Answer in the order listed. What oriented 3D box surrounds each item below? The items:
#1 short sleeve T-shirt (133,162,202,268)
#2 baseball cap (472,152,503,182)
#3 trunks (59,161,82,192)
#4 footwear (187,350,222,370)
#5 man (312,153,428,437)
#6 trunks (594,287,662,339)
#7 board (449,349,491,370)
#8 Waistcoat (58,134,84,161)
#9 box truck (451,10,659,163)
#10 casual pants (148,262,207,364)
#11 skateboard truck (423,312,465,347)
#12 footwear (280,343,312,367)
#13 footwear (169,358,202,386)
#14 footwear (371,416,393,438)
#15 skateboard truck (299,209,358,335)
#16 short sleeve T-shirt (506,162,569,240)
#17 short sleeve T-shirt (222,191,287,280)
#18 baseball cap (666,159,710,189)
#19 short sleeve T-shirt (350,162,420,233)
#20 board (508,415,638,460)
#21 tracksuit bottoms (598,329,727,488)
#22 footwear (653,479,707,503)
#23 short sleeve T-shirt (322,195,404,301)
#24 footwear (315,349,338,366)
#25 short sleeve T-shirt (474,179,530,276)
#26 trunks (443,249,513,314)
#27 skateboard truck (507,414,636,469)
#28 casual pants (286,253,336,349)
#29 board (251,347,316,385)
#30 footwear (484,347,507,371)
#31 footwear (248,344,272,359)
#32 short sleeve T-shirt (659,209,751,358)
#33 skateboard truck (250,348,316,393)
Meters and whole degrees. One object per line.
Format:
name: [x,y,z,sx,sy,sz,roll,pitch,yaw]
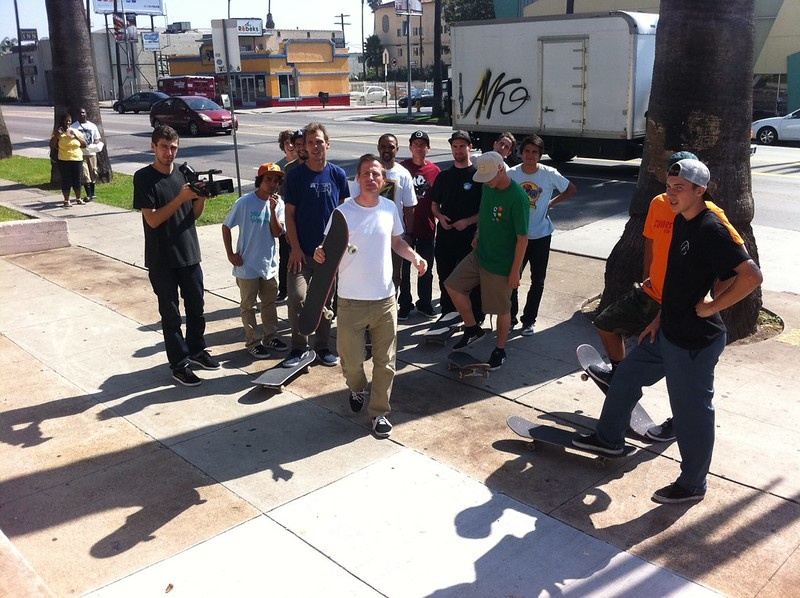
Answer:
short sleeve T-shirt: [-2.297,-0.819,6.249,0.547,0.987,0.402,-9,20,-24]
baseball cap: [0.891,-1.333,6.441,0.294,0.321,0.260,9,21,28]
trunks: [-7.436,-2.812,14.305,0.313,0.859,0.453,28,29,30]
footwear: [-2.076,0.643,6.848,0.415,0.190,0.155,14,22,8]
man: [-0.382,-0.034,5.740,1.045,2.409,0.995,1,0,-20]
trunks: [2.091,0.209,5.697,0.627,0.378,0.552,-14,-22,33]
board: [0.700,0.678,6.618,0.316,0.165,0.418,-7,20,-19]
Waistcoat: [-7.266,-3.361,13.915,0.310,0.560,0.494,23,25,38]
box truck: [5.010,-6.615,19.945,3.972,4.284,6.515,-22,30,-35]
casual pants: [-2.249,0.101,6.474,0.498,1.190,0.341,-11,11,-38]
skateboard truck: [0.527,0.328,7.464,0.258,0.121,0.505,8,30,27]
footwear: [-1.094,0.585,6.606,0.139,0.156,0.383,12,25,40]
footwear: [-2.158,0.723,6.529,0.390,0.251,0.161,15,29,12]
footwear: [-0.160,1.129,5.585,0.110,0.089,0.222,-11,15,-26]
skateboard truck: [-0.698,-0.213,5.733,0.327,1.349,0.227,31,26,32]
short sleeve T-shirt: [1.649,-1.221,7.806,0.957,0.856,0.357,9,28,32]
short sleeve T-shirt: [-1.613,-0.671,6.858,0.528,0.921,0.303,-6,19,-14]
baseball cap: [2.033,-0.890,4.468,0.259,0.192,0.176,7,20,21]
short sleeve T-shirt: [-0.170,-1.139,7.454,0.689,0.667,0.324,-2,-16,-3]
board: [1.438,1.170,5.262,0.940,0.138,0.277,9,19,30]
tracksuit bottoms: [2.039,0.889,4.971,0.816,1.256,0.529,7,38,9]
footwear: [2.065,1.458,4.788,0.422,0.180,0.156,0,8,7]
short sleeve T-shirt: [-0.358,-0.461,5.666,0.952,1.020,0.534,-5,15,-24]
footwear: [-0.809,0.638,6.989,0.122,0.119,0.300,-10,13,-39]
short sleeve T-shirt: [1.037,-0.815,6.658,0.360,0.924,0.761,-16,32,-24]
trunks: [0.861,-0.185,6.824,0.552,0.530,0.310,31,41,28]
skateboard truck: [1.386,1.132,5.167,1.280,0.185,0.377,10,20,30]
casual pants: [-1.004,0.072,6.740,0.362,1.370,0.211,4,12,7]
board: [-1.169,0.741,6.381,0.231,0.115,0.773,10,21,19]
footwear: [1.016,0.633,6.736,0.124,0.145,0.338,4,6,27]
footwear: [-1.563,0.591,7.085,0.237,0.095,0.130,11,16,38]
short sleeve T-shirt: [2.159,-0.147,4.517,0.549,0.983,0.372,12,22,33]
skateboard truck: [-1.163,0.705,6.368,0.239,0.127,0.773,8,19,19]
